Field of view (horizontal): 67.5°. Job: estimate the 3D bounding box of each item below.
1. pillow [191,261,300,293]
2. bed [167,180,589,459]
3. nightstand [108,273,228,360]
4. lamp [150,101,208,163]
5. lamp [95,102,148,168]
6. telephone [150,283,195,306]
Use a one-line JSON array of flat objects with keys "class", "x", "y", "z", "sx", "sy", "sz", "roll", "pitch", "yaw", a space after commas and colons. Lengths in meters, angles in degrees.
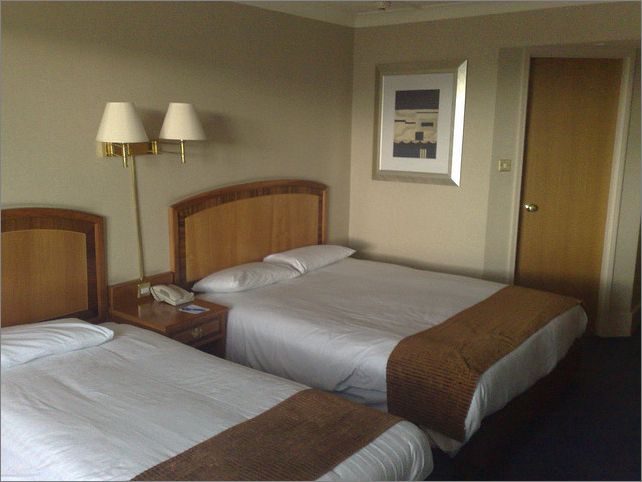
[{"class": "pillow", "x": -0.614, "y": 0.309, "z": 4.238, "sx": 0.339, "sy": 0.101, "sz": 0.638, "roll": 8, "pitch": 11, "yaw": 40}, {"class": "bed", "x": 0.245, "y": 0.750, "z": 4.054, "sx": 2.973, "sy": 1.310, "sz": 2.308, "roll": 12, "pitch": 22, "yaw": 37}, {"class": "nightstand", "x": -1.185, "y": 0.761, "z": 3.790, "sx": 0.675, "sy": 0.812, "sz": 0.563, "roll": 14, "pitch": 19, "yaw": 36}, {"class": "lamp", "x": -1.109, "y": -0.862, "z": 3.810, "sx": 0.380, "sy": 0.449, "sz": 0.339, "roll": -13, "pitch": 24, "yaw": -40}, {"class": "lamp", "x": -1.431, "y": -0.763, "z": 3.418, "sx": 0.312, "sy": 0.453, "sz": 0.340, "roll": -8, "pitch": 13, "yaw": -31}, {"class": "telephone", "x": -1.172, "y": 0.391, "z": 3.772, "sx": 0.250, "sy": 0.065, "sz": 0.181, "roll": 14, "pitch": 20, "yaw": 29}]
